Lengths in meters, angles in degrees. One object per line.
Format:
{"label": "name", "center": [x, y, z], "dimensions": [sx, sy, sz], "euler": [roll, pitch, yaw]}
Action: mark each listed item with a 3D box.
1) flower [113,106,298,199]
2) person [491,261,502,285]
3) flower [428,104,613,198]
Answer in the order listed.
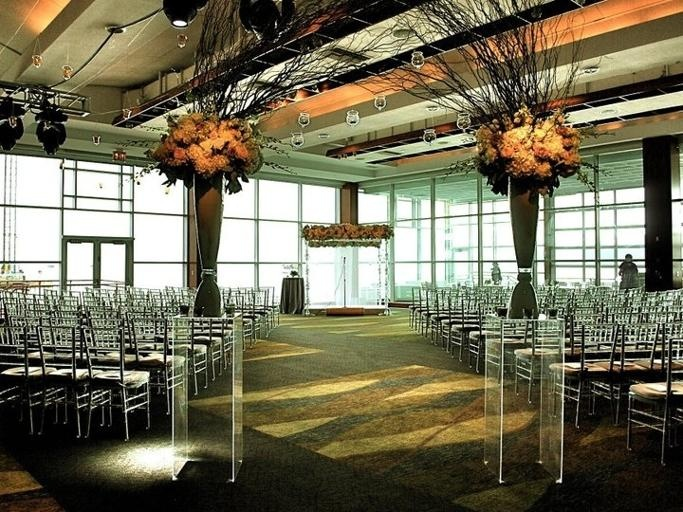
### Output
{"label": "flower", "center": [-0.990, -0.820, 4.292], "dimensions": [0.933, 0.465, 0.891], "euler": [2, 0, -39]}
{"label": "person", "center": [4.925, 0.525, 17.552], "dimensions": [0.343, 0.698, 0.164], "euler": [1, 2, 34]}
{"label": "flower", "center": [1.462, -0.835, 4.549], "dimensions": [1.016, 0.605, 0.978], "euler": [1, 21, 20]}
